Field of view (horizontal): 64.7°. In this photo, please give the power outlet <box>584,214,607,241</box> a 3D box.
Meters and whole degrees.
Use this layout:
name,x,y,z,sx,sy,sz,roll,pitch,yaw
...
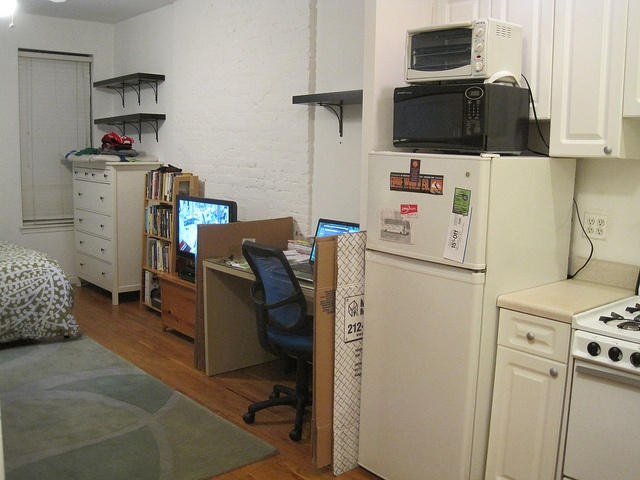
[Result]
name,x,y,z,sx,sy,sz,roll,pitch,yaw
power outlet,1.492,-0.068,2.732,0.016,0.162,0.126,-6,8,-39

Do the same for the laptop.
name,x,y,z,sx,sy,sz,roll,pitch,yaw
laptop,-0.031,0.065,3.580,0.430,0.337,0.551,-6,9,-34

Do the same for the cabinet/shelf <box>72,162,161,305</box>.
name,x,y,z,sx,sy,sz,roll,pitch,yaw
cabinet/shelf,-2.230,-0.079,5.624,0.653,1.786,1.396,-1,7,-39

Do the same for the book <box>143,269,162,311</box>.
name,x,y,z,sx,sy,sz,roll,pitch,yaw
book,-1.764,0.521,5.325,0.140,0.409,0.400,0,7,-34

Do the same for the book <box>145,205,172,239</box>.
name,x,y,z,sx,sy,sz,roll,pitch,yaw
book,-1.663,-0.183,5.227,0.164,0.304,0.300,-4,10,-35

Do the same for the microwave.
name,x,y,z,sx,sy,sz,roll,pitch,yaw
microwave,0.732,-0.632,2.717,0.417,0.363,0.580,-8,13,-41

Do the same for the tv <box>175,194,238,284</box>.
name,x,y,z,sx,sy,sz,roll,pitch,yaw
tv,-1.069,-0.007,4.721,0.726,0.742,0.151,5,3,31

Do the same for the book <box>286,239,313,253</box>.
name,x,y,z,sx,sy,sz,roll,pitch,yaw
book,-0.152,0.059,4.025,0.135,0.048,0.139,7,10,32

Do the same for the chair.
name,x,y,z,sx,sy,sz,roll,pitch,yaw
chair,-0.243,0.616,3.241,0.501,1.242,0.472,4,10,16
